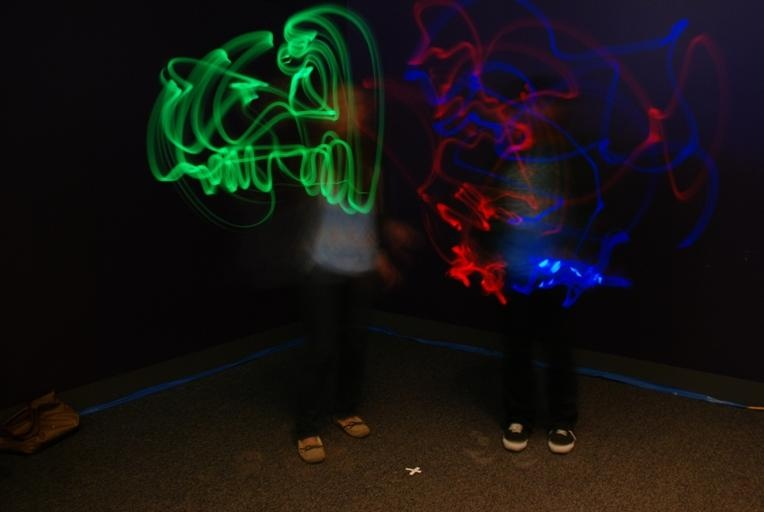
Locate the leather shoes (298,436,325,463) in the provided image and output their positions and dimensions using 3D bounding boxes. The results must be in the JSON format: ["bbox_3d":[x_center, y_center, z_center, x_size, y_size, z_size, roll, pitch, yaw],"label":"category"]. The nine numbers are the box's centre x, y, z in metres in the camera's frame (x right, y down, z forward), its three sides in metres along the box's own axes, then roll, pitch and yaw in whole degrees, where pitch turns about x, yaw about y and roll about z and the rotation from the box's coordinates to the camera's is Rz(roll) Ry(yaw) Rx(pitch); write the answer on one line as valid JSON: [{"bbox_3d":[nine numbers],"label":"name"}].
[{"bbox_3d":[-0.372,1.011,2.891,0.139,0.076,0.139,-3,16,-9],"label":"leather shoes"}]

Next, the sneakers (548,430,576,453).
[{"bbox_3d":[0.968,0.974,2.916,0.175,0.090,0.107,-2,16,-6],"label":"sneakers"}]

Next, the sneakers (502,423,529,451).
[{"bbox_3d":[0.719,0.967,2.953,0.137,0.093,0.143,4,17,15],"label":"sneakers"}]

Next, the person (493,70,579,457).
[{"bbox_3d":[0.861,0.395,3.030,0.479,1.150,0.664,2,17,9],"label":"person"}]
